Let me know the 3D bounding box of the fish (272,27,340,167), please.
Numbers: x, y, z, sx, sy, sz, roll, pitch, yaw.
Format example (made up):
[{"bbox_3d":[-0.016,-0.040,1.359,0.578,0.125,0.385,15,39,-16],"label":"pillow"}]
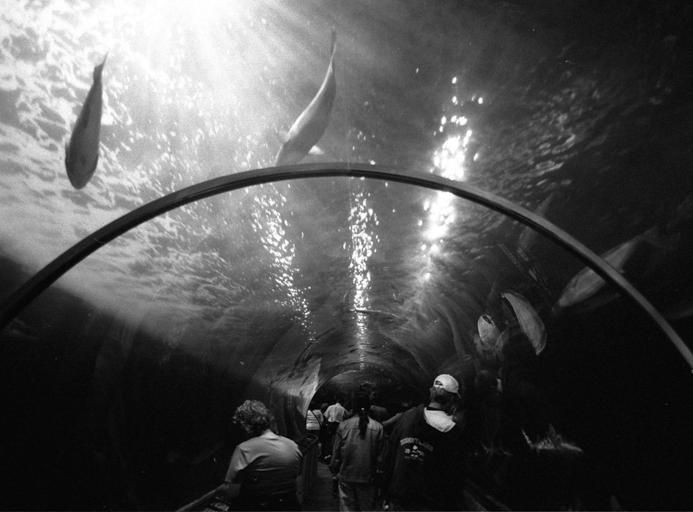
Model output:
[{"bbox_3d":[-0.449,-1.751,5.289,0.636,0.473,1.734,-1,-53,-48],"label":"fish"}]

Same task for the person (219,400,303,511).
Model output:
[{"bbox_3d":[-1.424,3.133,6.694,1.034,2.032,1.067,26,-45,-36],"label":"person"}]

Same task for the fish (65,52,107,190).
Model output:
[{"bbox_3d":[-3.126,-1.486,5.215,0.391,0.467,1.964,10,-66,-13],"label":"fish"}]
